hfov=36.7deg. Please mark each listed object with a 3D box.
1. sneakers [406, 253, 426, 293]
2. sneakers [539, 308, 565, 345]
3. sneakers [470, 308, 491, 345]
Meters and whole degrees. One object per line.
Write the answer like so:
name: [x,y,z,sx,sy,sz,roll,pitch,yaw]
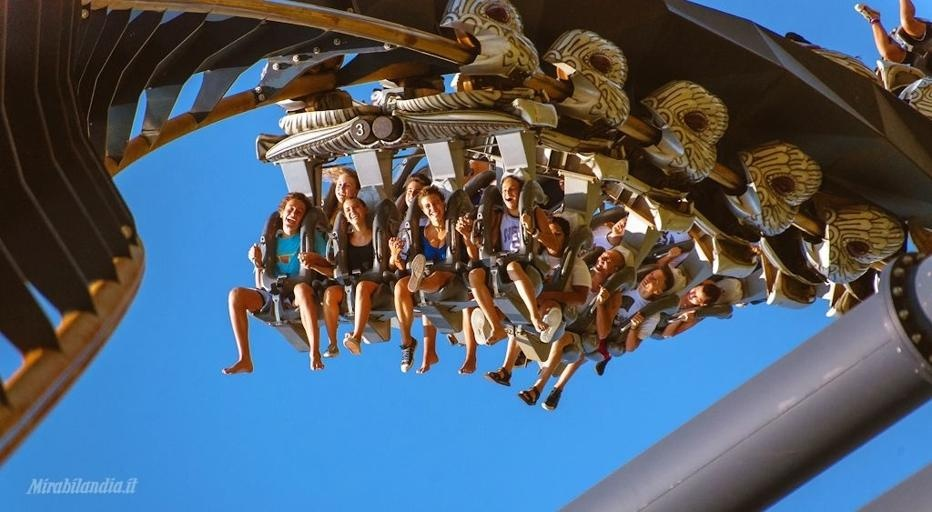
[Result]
sneakers: [-0.447,0.156,13.245,0.148,0.354,0.144,15,4,28]
sneakers: [0.834,0.723,13.841,0.187,0.153,0.446,-17,-37,-25]
sneakers: [0.168,0.712,14.272,0.174,0.400,0.159,3,-10,-44]
